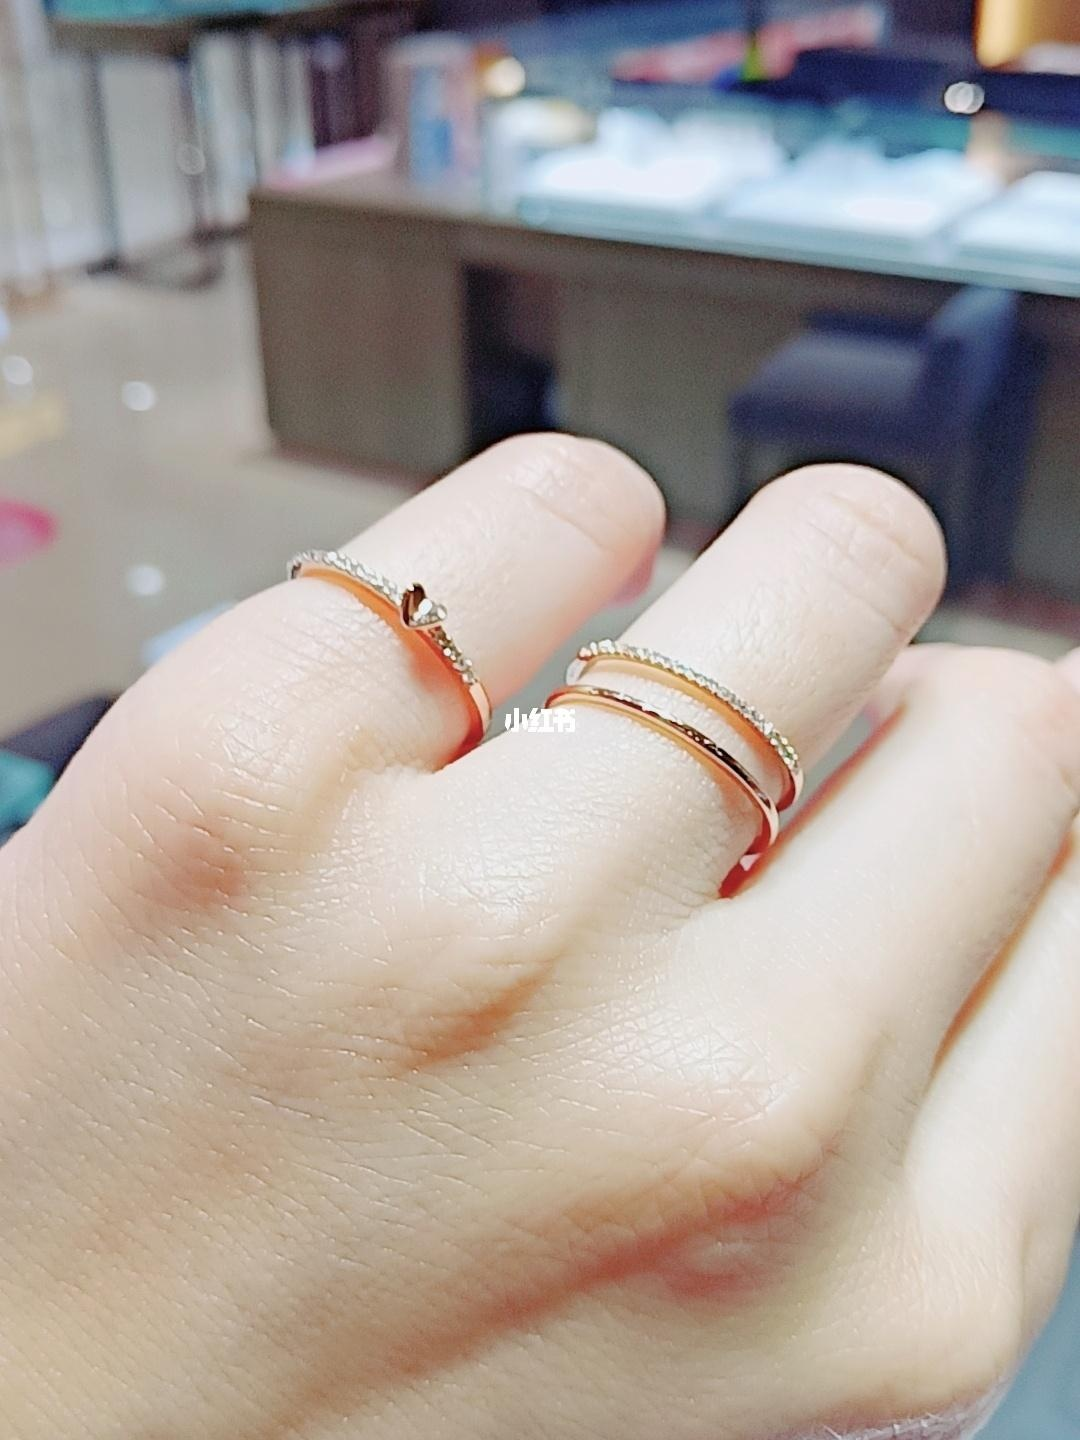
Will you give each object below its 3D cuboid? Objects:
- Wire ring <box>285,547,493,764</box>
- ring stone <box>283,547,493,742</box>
[{"bbox_3d":[-0.040,-0.015,0.352,0.014,0.058,0.062,-49,1,-14],"label":"Wire ring"},{"bbox_3d":[-0.040,-0.018,0.353,0.017,0.055,0.059,-50,9,-12],"label":"ring stone"}]
